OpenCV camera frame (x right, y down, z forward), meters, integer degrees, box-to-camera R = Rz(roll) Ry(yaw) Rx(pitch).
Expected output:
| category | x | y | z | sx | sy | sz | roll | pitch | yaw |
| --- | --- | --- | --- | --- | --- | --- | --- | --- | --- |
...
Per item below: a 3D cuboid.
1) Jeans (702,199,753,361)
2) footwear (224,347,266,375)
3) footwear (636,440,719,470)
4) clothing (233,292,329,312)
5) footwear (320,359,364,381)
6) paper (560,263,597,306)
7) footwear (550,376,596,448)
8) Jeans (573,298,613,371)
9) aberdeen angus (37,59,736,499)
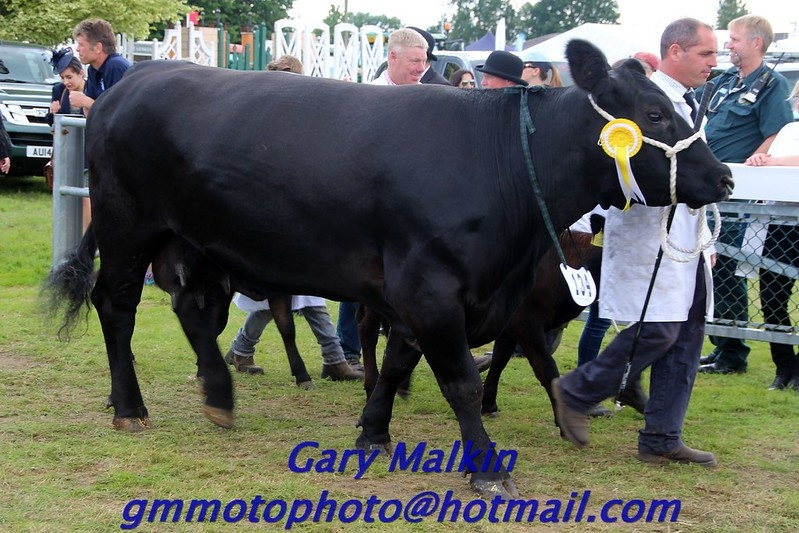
| category | x | y | z | sx | sy | sz | roll | pitch | yaw |
| --- | --- | --- | --- | --- | --- | --- | --- | --- | --- |
| Jeans | 2.598 | 0.153 | 8.095 | 0.486 | 1.295 | 0.398 | -4 | -1 | -8 |
| footwear | -1.200 | 0.751 | 7.870 | 0.404 | 0.159 | 0.133 | 18 | 18 | 5 |
| footwear | 1.824 | 1.239 | 6.554 | 0.527 | 0.180 | 0.161 | -2 | 2 | 3 |
| clothing | -0.938 | 0.282 | 7.694 | 0.460 | 0.132 | 0.288 | -1 | 6 | -3 |
| footwear | -0.451 | 0.822 | 7.812 | 0.388 | 0.132 | 0.124 | 1 | 7 | -2 |
| paper | 1.181 | 0.127 | 6.516 | 0.324 | 0.261 | 0.091 | -8 | -10 | -30 |
| footwear | 1.106 | 0.953 | 6.488 | 0.249 | 0.430 | 0.191 | -17 | 1 | 15 |
| Jeans | 1.488 | 0.496 | 7.437 | 0.199 | 0.654 | 0.196 | -5 | 30 | -18 |
| aberdeen angus | -0.246 | 0.007 | 6.574 | 5.395 | 2.609 | 1.306 | 6 | 11 | 26 |
